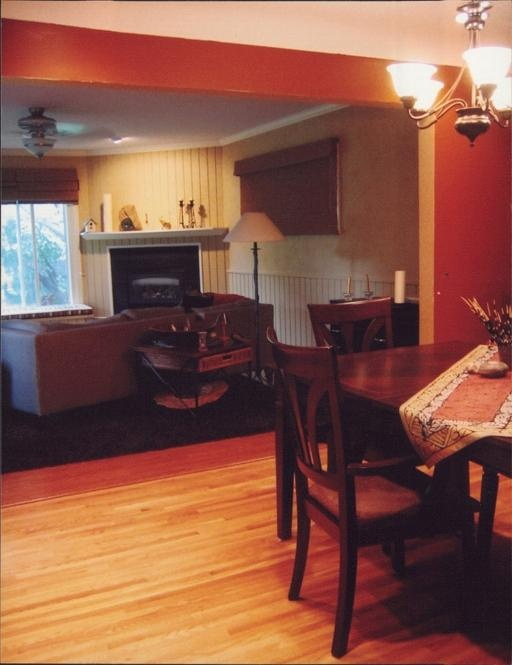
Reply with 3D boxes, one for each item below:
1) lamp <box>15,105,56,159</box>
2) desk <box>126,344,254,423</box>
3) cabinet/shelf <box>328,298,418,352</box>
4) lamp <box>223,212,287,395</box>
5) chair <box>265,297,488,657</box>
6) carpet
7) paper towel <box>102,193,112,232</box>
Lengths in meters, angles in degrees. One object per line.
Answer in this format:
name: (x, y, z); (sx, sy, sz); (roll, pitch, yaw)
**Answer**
lamp: (-2.069, -1.884, 5.356); (0.370, 0.449, 0.367); (9, 16, 27)
desk: (-0.451, 0.266, 4.158); (0.614, 0.392, 0.776); (7, 10, 22)
cabinet/shelf: (0.660, -0.045, 3.066); (0.216, 0.358, 0.379); (0, 0, -40)
lamp: (-0.004, -0.407, 5.167); (0.522, 1.408, 0.494); (-7, 26, -11)
chair: (0.357, 0.316, 2.035); (0.810, 1.256, 0.719); (-7, 10, -21)
carpet: (-0.781, 0.604, 3.802); (1.703, 0.086, 1.144); (-5, 8, -24)
paper towel: (-1.969, -1.571, 7.441); (0.160, 0.522, 0.312); (-5, 8, -14)
